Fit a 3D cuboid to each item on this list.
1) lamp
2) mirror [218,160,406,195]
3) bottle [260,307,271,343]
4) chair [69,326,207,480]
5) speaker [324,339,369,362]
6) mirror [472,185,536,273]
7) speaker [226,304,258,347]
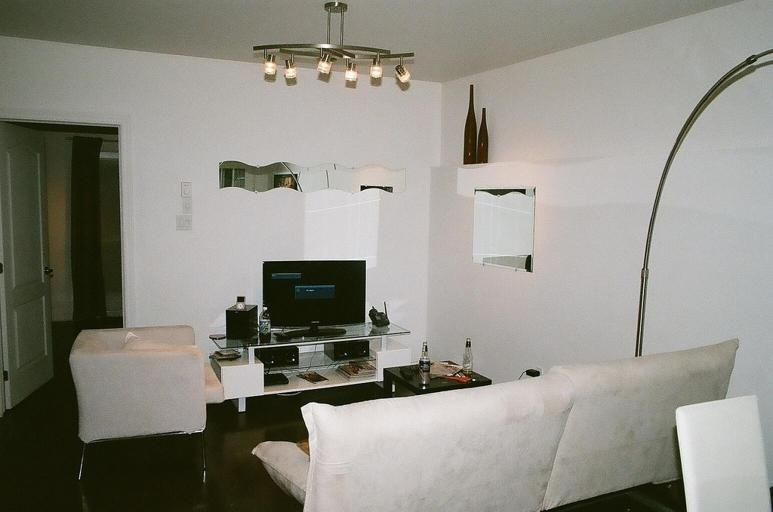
[{"bbox_3d":[-0.517,-1.693,4.906,0.918,0.425,0.915,-5,13,-35],"label":"lamp"},{"bbox_3d":[-0.806,-0.865,6.418,2.049,0.335,0.040,-1,6,-19],"label":"mirror"},{"bbox_3d":[-1.234,0.684,5.861,0.109,0.306,0.303,-1,5,-12],"label":"bottle"},{"bbox_3d":[-1.961,0.994,4.938,1.105,1.147,1.326,-2,10,-22],"label":"chair"},{"bbox_3d":[-0.431,0.985,6.233,0.262,0.136,0.315,0,-2,-26],"label":"speaker"},{"bbox_3d":[1.238,-0.293,5.979,0.085,0.900,0.802,-7,12,-39],"label":"mirror"},{"bbox_3d":[-1.423,0.660,5.825,0.294,0.522,0.559,-1,2,-7],"label":"speaker"}]
